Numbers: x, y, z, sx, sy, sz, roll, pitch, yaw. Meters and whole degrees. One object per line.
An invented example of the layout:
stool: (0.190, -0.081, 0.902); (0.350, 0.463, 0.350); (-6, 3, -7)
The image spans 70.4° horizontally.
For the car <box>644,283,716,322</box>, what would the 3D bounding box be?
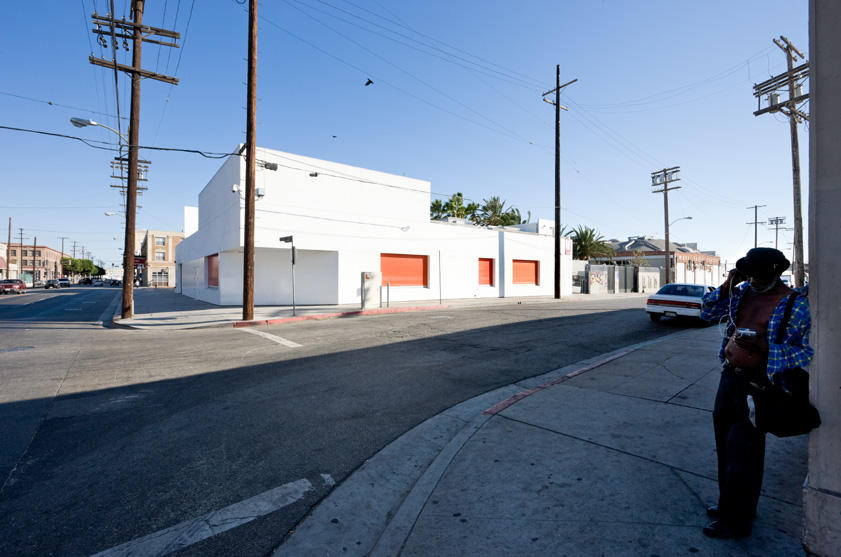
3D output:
car: (6.801, 0.674, 15.717); (2.105, 0.647, 0.960); (-7, 6, -42)

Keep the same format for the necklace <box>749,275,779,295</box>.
necklace: (3.598, 0.074, 6.242); (0.162, 0.197, 0.225); (6, 7, 28)

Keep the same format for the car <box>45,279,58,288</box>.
car: (-37.644, 0.632, 60.761); (1.455, 1.094, 2.368); (-1, 0, -35)

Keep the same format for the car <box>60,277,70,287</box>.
car: (-46.657, 0.497, 77.988); (1.127, 0.877, 1.800); (-1, 4, -5)

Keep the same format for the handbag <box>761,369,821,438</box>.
handbag: (3.684, 1.241, 5.953); (0.563, 0.665, 0.219); (0, 3, 10)
